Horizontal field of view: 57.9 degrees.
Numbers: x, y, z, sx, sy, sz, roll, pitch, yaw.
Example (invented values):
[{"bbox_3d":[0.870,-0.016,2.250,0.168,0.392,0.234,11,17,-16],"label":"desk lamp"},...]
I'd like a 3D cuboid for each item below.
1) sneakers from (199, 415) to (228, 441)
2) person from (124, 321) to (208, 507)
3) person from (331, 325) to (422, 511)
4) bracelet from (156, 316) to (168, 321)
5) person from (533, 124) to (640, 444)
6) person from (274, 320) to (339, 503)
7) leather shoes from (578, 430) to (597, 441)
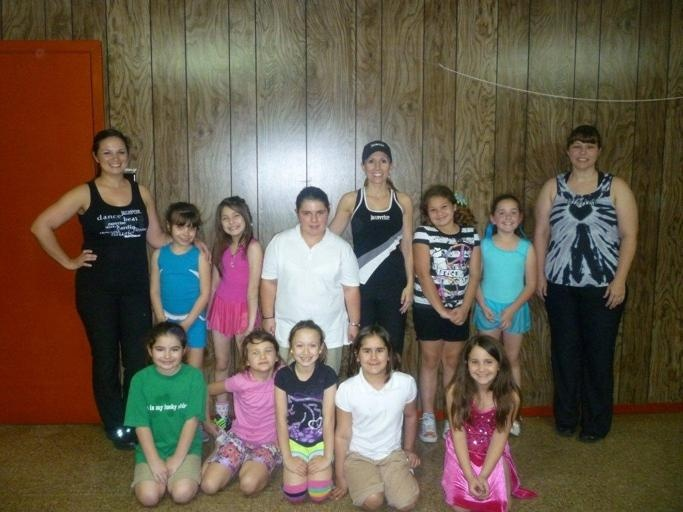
[{"bbox_3d":[-0.791,1.059,3.808,0.091,0.276,0.191,14,47,-18],"label":"sneakers"},{"bbox_3d":[-0.999,0.882,3.497,0.467,0.949,0.376,-4,11,-14],"label":"person"},{"bbox_3d":[0.196,0.902,3.511,0.473,0.965,0.453,0,10,7],"label":"person"},{"bbox_3d":[-1.150,0.403,3.939,0.051,0.038,0.051,-7,-7,43],"label":"bracelet"},{"bbox_3d":[1.566,0.182,4.037,0.624,2.024,0.347,3,11,25],"label":"person"},{"bbox_3d":[-0.205,0.868,3.581,0.362,0.959,0.469,-1,10,2],"label":"person"},{"bbox_3d":[1.610,1.172,4.049,0.120,0.045,0.052,4,36,8],"label":"leather shoes"}]
